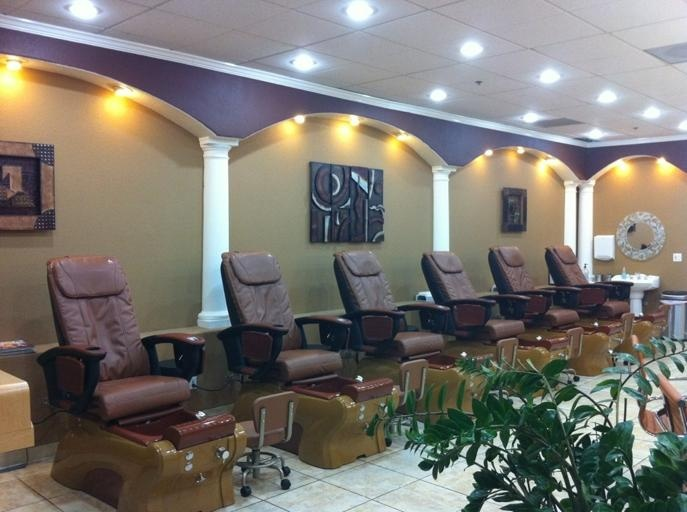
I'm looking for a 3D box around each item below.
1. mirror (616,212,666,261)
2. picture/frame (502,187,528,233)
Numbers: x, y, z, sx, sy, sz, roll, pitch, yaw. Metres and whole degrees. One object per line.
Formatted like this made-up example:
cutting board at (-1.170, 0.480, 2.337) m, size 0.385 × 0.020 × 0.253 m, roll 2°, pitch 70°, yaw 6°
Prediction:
mirror at (5.012, -0.340, 8.572) m, size 0.075 × 0.929 × 0.797 m, roll -1°, pitch -4°, yaw -41°
picture/frame at (2.660, -0.720, 8.010) m, size 0.745 × 0.833 × 0.073 m, roll 0°, pitch 2°, yaw -43°
